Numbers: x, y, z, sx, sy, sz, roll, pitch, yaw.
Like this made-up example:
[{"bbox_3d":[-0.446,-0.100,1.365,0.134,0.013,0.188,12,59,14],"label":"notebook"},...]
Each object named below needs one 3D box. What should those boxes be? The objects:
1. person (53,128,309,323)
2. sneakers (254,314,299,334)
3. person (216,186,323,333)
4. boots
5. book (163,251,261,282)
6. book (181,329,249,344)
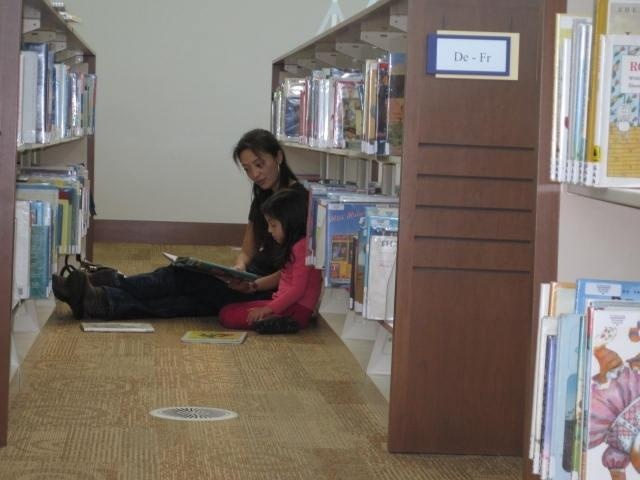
[{"bbox_3d":[-0.802,-0.093,3.466,1.542,1.107,0.624,-4,6,-14],"label":"person"},{"bbox_3d":[-0.232,0.464,3.109,0.242,0.094,0.105,4,-5,-22],"label":"sneakers"},{"bbox_3d":[-0.232,0.139,3.535,0.665,0.984,0.835,2,1,0],"label":"person"},{"bbox_3d":[-1.342,0.265,3.264,0.297,0.143,0.305,10,9,-19],"label":"boots"},{"bbox_3d":[-0.590,0.164,3.106,0.493,0.162,0.274,2,5,-8],"label":"book"},{"bbox_3d":[-0.549,0.505,2.988,0.324,0.026,0.288,3,6,-4],"label":"book"}]
